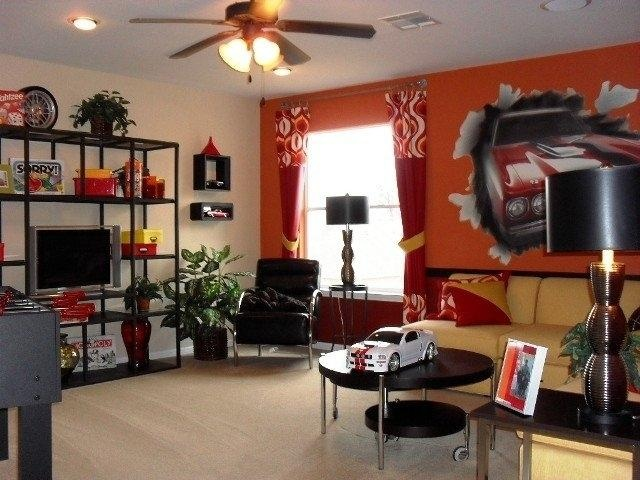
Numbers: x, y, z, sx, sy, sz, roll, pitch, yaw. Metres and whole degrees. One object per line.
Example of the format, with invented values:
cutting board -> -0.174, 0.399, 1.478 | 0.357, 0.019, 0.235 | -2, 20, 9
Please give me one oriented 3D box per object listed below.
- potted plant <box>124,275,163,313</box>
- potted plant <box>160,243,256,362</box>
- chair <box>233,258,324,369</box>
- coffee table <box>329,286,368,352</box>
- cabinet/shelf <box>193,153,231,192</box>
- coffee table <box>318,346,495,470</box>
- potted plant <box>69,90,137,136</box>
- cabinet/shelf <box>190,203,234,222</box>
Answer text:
potted plant -> -1.912, 0.567, 5.381 | 0.367, 0.262, 0.370 | 0, -5, 19
potted plant -> -1.322, 0.709, 6.243 | 1.279, 1.573, 1.217 | 2, -2, -44
chair -> -0.457, 0.803, 5.742 | 0.915, 1.131, 0.840 | 0, 2, 6
coffee table -> 0.352, 0.930, 5.996 | 0.470, 0.883, 0.789 | -1, 2, 2
cabinet/shelf -> -1.378, -0.847, 6.352 | 0.492, 0.483, 0.266 | 0, -2, -43
coffee table -> 0.591, 0.996, 3.369 | 0.794, 0.416, 0.797 | 0, 2, -15
potted plant -> -2.315, -1.263, 5.283 | 0.605, 0.412, 0.614 | -2, -1, 26
cabinet/shelf -> -1.359, -0.358, 6.422 | 0.234, 0.227, 0.548 | 1, 2, 44
